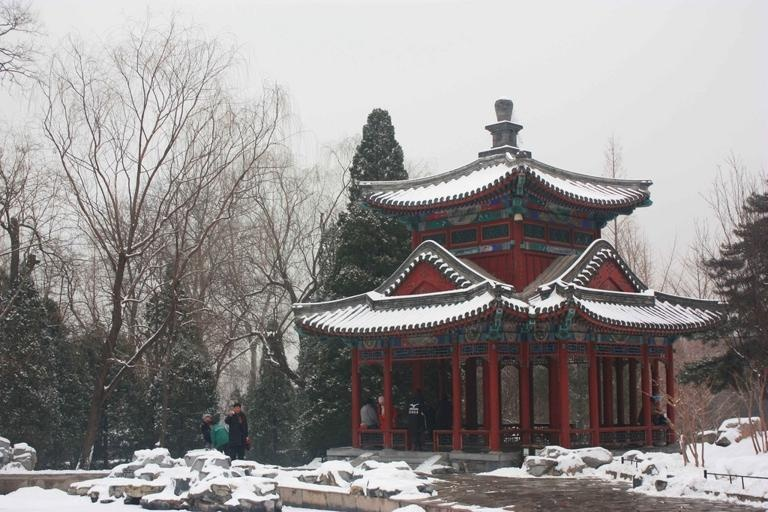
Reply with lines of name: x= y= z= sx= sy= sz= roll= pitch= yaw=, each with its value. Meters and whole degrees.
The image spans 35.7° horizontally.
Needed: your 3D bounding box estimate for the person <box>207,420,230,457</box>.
person: x=-5.784 y=6.381 z=41.815 sx=0.665 sy=1.431 sz=2.317 roll=1 pitch=-22 yaw=-8
